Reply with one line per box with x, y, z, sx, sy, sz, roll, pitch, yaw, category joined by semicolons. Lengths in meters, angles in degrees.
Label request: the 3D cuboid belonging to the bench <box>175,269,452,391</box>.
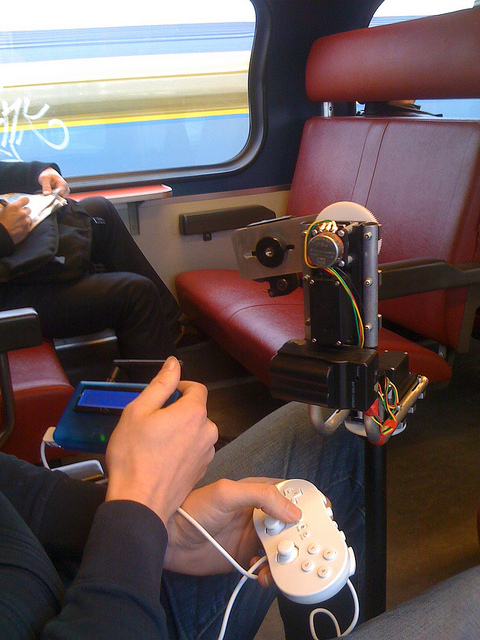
0.208;0.026;1.365;0.228;0.157;0.522;6;14;-30;bench

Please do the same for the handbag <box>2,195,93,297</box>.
-0.778;-0.292;1.989;0.127;0.349;0.354;47;33;-2;handbag

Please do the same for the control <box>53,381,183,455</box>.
-0.191;0.150;0.791;0.195;0.045;0.118;-4;48;16;control

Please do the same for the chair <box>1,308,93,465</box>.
-0.533;0.172;1.334;0.212;0.337;0.405;-6;18;-19;chair

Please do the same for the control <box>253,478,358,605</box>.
0.074;0.271;0.615;0.095;0.050;0.193;-24;17;-4;control

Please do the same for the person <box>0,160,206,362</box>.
-0.613;-0.263;2.161;0.529;0.952;0.415;-18;46;-1;person
